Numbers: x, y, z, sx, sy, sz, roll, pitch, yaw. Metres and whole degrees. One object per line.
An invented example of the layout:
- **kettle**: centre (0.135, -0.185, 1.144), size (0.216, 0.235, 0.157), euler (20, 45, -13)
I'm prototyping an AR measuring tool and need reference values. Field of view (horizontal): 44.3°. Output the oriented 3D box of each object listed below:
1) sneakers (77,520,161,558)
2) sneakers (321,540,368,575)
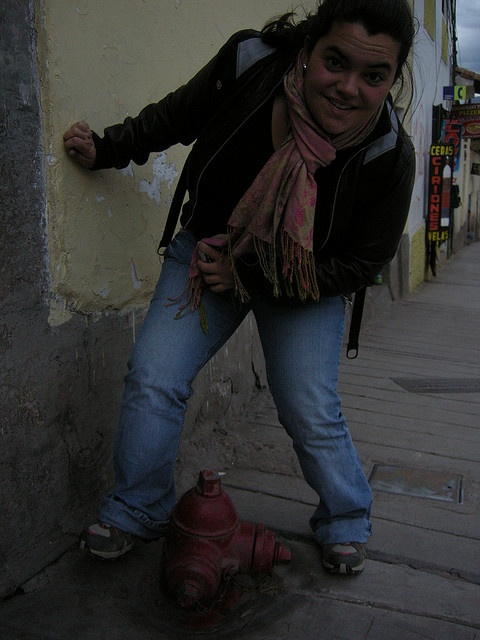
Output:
- **sneakers**: centre (-0.361, 0.618, 1.655), size (0.160, 0.077, 0.063), euler (5, -39, -30)
- **sneakers**: centre (0.326, 0.745, 1.849), size (0.156, 0.079, 0.069), euler (2, 5, 9)
